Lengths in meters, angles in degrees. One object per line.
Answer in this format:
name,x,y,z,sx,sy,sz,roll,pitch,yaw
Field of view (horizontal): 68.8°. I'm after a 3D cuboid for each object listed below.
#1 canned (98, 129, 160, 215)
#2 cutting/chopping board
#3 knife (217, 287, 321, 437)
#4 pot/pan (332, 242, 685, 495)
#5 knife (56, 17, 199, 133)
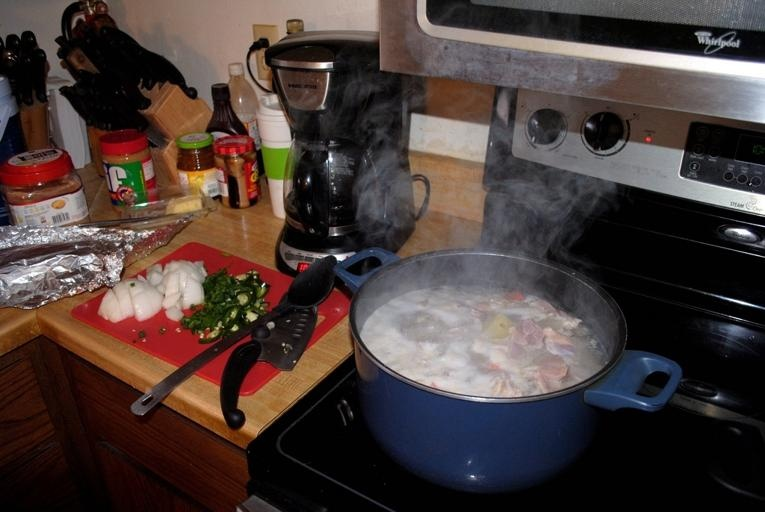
canned,-0.632,-0.215,1.397,0.116,0.168,0.173,-12,32,-21
cutting/chopping board,-0.345,0.123,1.120,0.384,0.014,0.275,19,38,25
knife,-0.191,0.167,0.975,0.083,0.041,0.253,15,34,17
pot/pan,0.175,0.171,0.814,0.481,0.185,0.373,21,37,25
knife,-0.677,-0.444,1.537,0.343,0.246,0.144,37,0,-9
